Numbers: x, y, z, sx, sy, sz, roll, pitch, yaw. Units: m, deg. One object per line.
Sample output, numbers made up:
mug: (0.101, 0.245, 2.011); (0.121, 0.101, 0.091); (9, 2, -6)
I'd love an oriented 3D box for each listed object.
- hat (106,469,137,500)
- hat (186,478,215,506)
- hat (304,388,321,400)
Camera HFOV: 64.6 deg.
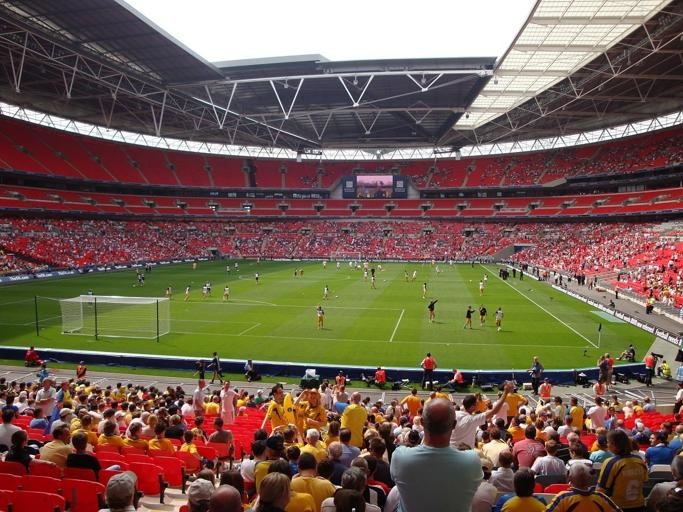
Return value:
hat: (-4.862, 5.200, 12.029); (0.503, 0.716, 0.586); (0, -9, 7)
hat: (-3.080, 5.133, 11.757); (0.630, 0.492, 0.639); (5, 6, -5)
hat: (-0.922, 4.206, 16.456); (0.426, 0.372, 0.584); (0, -8, 1)
